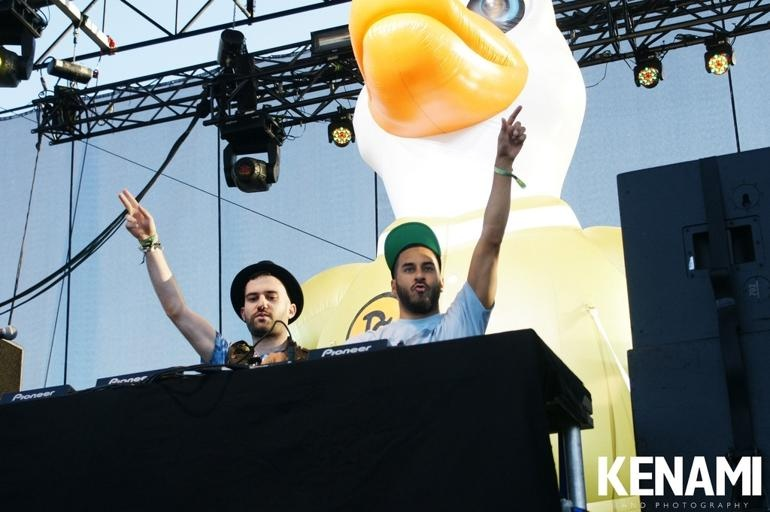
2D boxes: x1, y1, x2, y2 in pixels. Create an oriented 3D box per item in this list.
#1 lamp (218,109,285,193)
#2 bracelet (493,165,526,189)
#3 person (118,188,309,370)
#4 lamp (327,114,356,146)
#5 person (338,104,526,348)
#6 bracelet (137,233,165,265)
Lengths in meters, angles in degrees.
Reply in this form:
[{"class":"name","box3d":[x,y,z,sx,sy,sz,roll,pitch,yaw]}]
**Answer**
[{"class":"lamp","box3d":[-1.440,-1.071,14.597,0.580,0.888,0.710,-4,-21,6]},{"class":"bracelet","box3d":[0.923,-0.575,9.702,0.239,0.062,0.193,31,3,-5]},{"class":"person","box3d":[-1.270,0.296,10.192,1.350,1.272,1.141,1,-17,-5]},{"class":"lamp","box3d":[-0.461,-1.383,14.828,0.240,0.396,0.123,0,7,9]},{"class":"person","box3d":[0.538,-0.048,10.029,0.571,1.248,1.515,8,-19,-27]},{"class":"bracelet","box3d":[-1.778,-0.044,10.105,0.166,0.224,0.209,-3,3,6]}]
